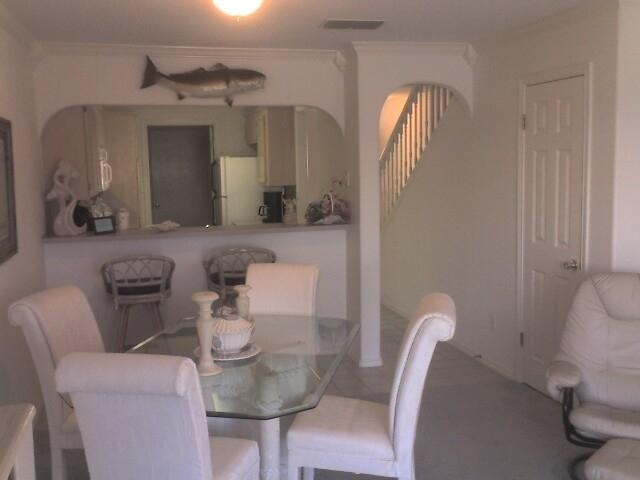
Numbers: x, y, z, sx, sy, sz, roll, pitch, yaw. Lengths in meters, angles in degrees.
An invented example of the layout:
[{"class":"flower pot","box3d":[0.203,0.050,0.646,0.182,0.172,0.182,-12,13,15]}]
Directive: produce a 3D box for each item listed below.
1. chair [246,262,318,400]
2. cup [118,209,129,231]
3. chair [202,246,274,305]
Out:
[{"class":"chair","box3d":[-0.248,0.406,3.694,0.394,0.563,0.457,1,2,0]},{"class":"cup","box3d":[-1.757,-0.176,4.765,0.088,0.164,0.202,-6,11,-25]},{"class":"chair","box3d":[-0.760,0.254,4.667,0.560,0.713,0.535,-3,20,-16]}]
